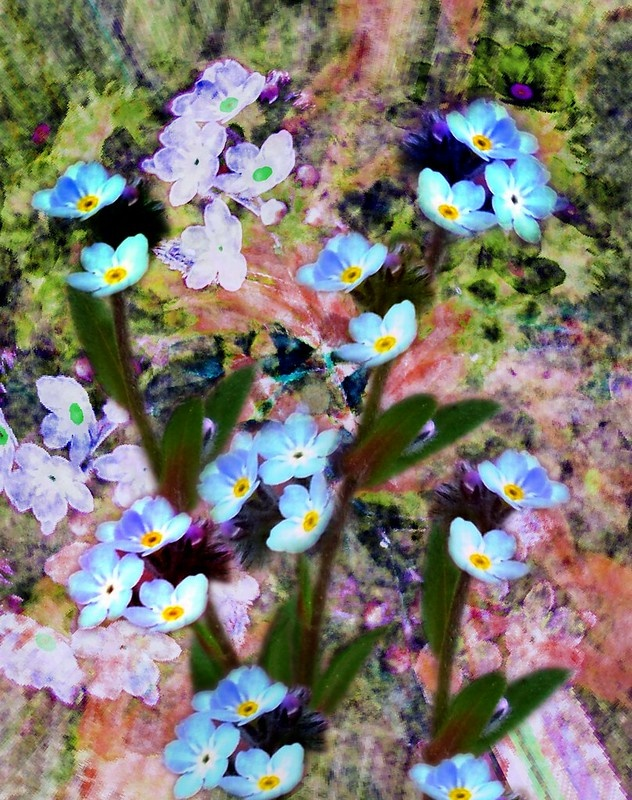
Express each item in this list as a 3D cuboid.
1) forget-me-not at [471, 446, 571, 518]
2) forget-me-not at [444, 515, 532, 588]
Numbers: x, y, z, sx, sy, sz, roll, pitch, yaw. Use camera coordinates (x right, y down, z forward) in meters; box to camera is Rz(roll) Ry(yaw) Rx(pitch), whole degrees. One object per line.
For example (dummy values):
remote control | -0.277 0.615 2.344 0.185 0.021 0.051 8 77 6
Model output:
forget-me-not | 0.150 0.057 0.527 0.060 0.026 0.042 -12 48 -13
forget-me-not | 0.117 0.105 0.499 0.054 0.018 0.039 12 52 16
